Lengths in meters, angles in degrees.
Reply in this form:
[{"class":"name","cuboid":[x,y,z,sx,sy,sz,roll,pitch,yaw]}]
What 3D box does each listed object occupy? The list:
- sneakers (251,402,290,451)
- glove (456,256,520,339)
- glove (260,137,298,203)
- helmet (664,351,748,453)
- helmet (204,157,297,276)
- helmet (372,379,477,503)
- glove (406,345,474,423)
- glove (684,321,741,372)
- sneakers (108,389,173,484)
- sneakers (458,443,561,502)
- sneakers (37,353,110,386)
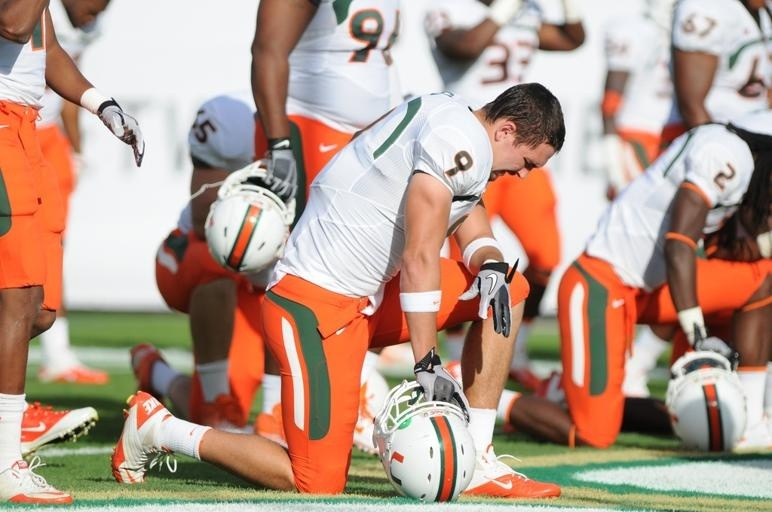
[{"class":"sneakers","cuboid":[-0.599,0.893,5.522,0.205,0.140,0.276,5,-9,19]},{"class":"glove","cuboid":[0.470,0.189,4.707,0.233,0.340,0.099,21,-21,-33]},{"class":"glove","cuboid":[-0.497,-0.409,5.033,0.163,0.274,0.103,-2,2,-18]},{"class":"helmet","cuboid":[1.724,0.764,5.692,0.433,0.589,0.463,-4,-49,15]},{"class":"helmet","cuboid":[-0.673,-0.169,5.227,0.417,0.569,0.414,18,-44,-12]},{"class":"helmet","cuboid":[0.125,0.801,4.639,0.424,0.513,0.410,-10,-41,-25]},{"class":"glove","cuboid":[0.229,0.541,4.558,0.135,0.314,0.218,-22,15,-21]},{"class":"glove","cuboid":[1.672,0.469,5.460,0.227,0.296,0.273,-7,13,-39]},{"class":"sneakers","cuboid":[-1.126,0.838,4.832,0.245,0.547,0.188,16,10,26]},{"class":"sneakers","cuboid":[0.559,1.019,4.921,0.532,0.253,0.189,2,-5,1]},{"class":"sneakers","cuboid":[-2.241,0.820,7.630,0.581,0.275,0.203,1,0,-2]}]
